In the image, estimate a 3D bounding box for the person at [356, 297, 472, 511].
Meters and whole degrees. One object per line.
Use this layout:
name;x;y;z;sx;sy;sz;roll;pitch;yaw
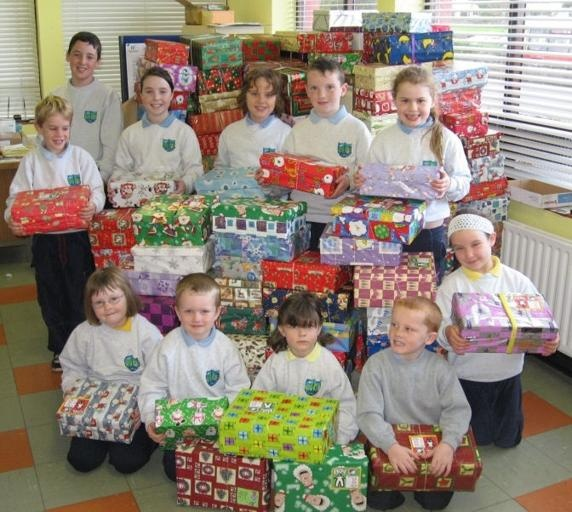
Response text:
person;0.503;0.591;2.158;0.431;0.768;0.434;-2;21;-6

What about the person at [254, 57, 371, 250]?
person;0.230;-0.516;2.944;0.383;0.980;0.517;-15;26;-33

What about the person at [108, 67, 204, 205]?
person;-0.759;-0.695;3.234;0.535;0.741;0.494;-1;21;-4

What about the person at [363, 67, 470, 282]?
person;0.613;-0.354;2.689;0.454;1.052;0.421;15;26;34
